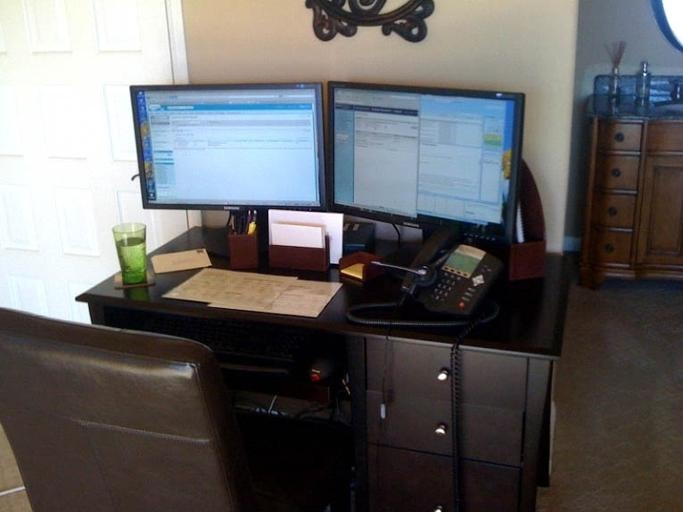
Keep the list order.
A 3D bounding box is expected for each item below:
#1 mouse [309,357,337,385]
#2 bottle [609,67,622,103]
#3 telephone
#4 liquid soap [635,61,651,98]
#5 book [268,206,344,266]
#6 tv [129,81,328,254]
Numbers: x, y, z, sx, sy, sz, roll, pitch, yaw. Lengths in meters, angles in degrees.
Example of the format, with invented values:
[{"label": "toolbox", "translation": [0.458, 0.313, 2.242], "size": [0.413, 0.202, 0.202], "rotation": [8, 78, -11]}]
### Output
[{"label": "mouse", "translation": [-0.061, 0.335, 1.680], "size": [0.056, 0.023, 0.080], "rotation": [1, 10, 16]}, {"label": "bottle", "translation": [1.653, -1.034, 3.488], "size": [0.063, 0.213, 0.125], "rotation": [6, 17, 25]}, {"label": "telephone", "translation": [0.324, 0.057, 1.709], "size": [0.208, 0.104, 0.272], "rotation": [23, 61, 36]}, {"label": "liquid soap", "translation": [1.826, -1.057, 3.488], "size": [0.078, 0.209, 0.191], "rotation": [7, 18, 28]}, {"label": "book", "translation": [-0.123, -0.060, 1.997], "size": [0.204, 0.147, 0.023], "rotation": [3, 15, 11]}, {"label": "tv", "translation": [-0.381, -0.330, 2.064], "size": [0.725, 0.452, 0.075], "rotation": [0, 25, 5]}]
